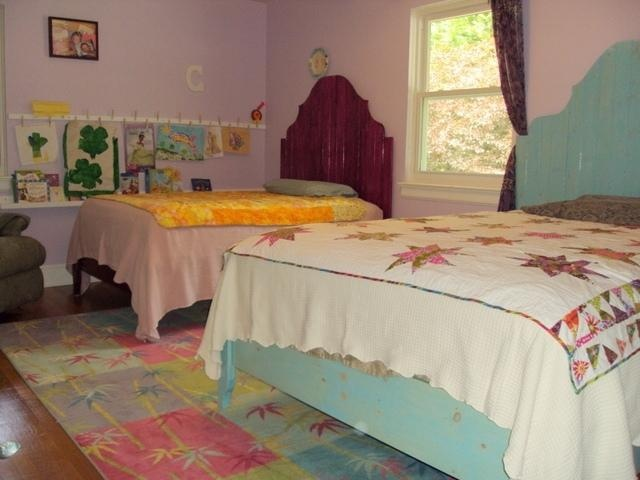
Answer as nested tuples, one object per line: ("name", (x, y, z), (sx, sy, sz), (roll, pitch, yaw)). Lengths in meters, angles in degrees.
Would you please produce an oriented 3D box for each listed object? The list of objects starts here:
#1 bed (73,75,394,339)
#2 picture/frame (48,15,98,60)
("bed", (-0.774, -0.605, 4.350), (2.669, 2.394, 2.049), (-7, 13, -43))
("picture/frame", (-2.500, -2.041, 4.555), (0.483, 0.398, 0.048), (-9, 15, -43))
